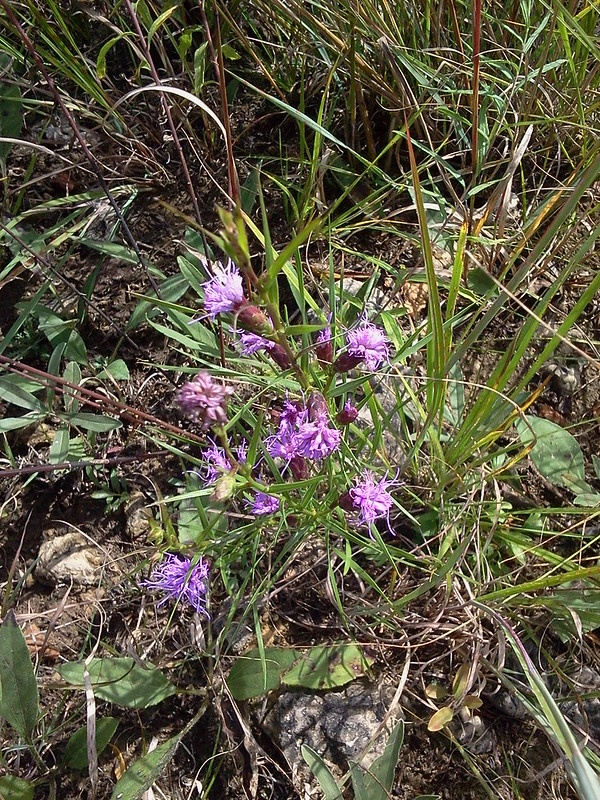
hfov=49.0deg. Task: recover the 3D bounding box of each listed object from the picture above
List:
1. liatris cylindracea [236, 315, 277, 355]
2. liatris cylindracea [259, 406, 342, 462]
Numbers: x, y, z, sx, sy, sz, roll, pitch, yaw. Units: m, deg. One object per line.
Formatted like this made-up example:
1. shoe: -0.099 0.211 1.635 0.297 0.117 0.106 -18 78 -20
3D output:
1. liatris cylindracea: -0.087 -0.111 1.140 0.065 0.064 0.033 -1 89 -47
2. liatris cylindracea: -0.001 0.067 1.219 0.067 0.125 0.105 -13 84 19
